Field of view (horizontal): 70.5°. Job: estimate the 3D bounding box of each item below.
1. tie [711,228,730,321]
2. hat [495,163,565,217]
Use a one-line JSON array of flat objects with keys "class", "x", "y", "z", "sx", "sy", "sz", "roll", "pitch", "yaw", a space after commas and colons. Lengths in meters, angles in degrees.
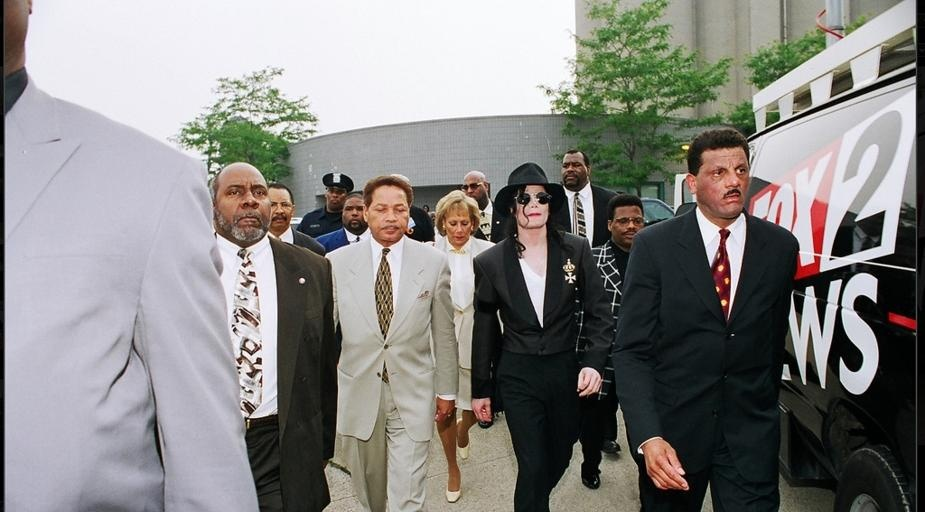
[{"class": "tie", "x": 1.638, "y": 0.117, "z": 4.129, "sx": 0.150, "sy": 0.495, "sz": 0.029, "roll": 1, "pitch": -16, "yaw": 2}, {"class": "hat", "x": 0.530, "y": -0.603, "z": 5.298, "sx": 0.533, "sy": 0.223, "sz": 0.621, "roll": -1, "pitch": -9, "yaw": -6}]
